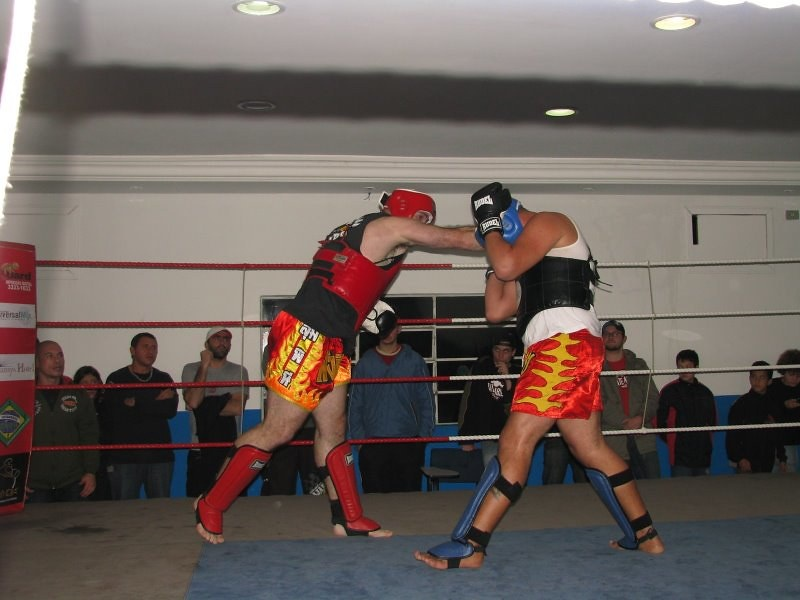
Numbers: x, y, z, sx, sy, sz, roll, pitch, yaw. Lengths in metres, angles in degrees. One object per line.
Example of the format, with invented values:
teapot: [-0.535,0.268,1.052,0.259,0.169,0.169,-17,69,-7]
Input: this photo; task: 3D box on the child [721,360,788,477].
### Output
child: [3.036,1.157,6.537,0.571,1.307,0.396,3,18,21]

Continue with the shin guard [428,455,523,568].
shin guard: [0.315,0.888,3.271,0.392,0.441,0.135,-3,7,-17]

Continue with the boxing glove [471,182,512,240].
boxing glove: [0.394,-0.404,3.402,0.202,0.243,0.113,37,57,20]

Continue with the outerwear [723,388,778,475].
outerwear: [3.041,1.106,6.550,0.538,0.620,0.264,3,6,22]

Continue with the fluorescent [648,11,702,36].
fluorescent: [1.451,-1.448,4.066,0.235,0.055,0.189,1,6,15]

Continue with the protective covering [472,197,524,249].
protective covering: [0.445,-0.343,3.425,0.165,0.076,0.191,6,-44,-23]

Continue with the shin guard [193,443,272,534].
shin guard: [-0.763,0.871,3.551,0.353,0.436,0.101,-2,7,-10]

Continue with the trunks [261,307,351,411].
trunks: [-0.388,0.244,3.622,0.481,0.371,0.267,-9,28,-35]

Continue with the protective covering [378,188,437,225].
protective covering: [0.040,-0.448,3.742,0.248,0.125,0.162,8,5,3]

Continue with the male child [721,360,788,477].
male child: [3.017,1.183,6.525,0.555,1.280,0.403,4,11,16]

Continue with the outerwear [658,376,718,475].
outerwear: [2.316,1.005,6.257,0.435,0.737,0.451,1,7,18]

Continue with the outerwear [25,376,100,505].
outerwear: [-2.351,1.002,5.360,0.480,0.827,0.556,-4,7,-21]

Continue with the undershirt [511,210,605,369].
undershirt: [0.705,-0.037,3.767,0.545,0.749,0.624,5,-12,-13]

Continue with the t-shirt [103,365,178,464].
t-shirt: [-2.088,0.860,6.166,0.570,0.614,0.392,8,-2,-40]

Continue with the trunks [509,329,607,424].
trunks: [0.713,0.317,3.368,0.450,0.362,0.254,-1,-13,38]
